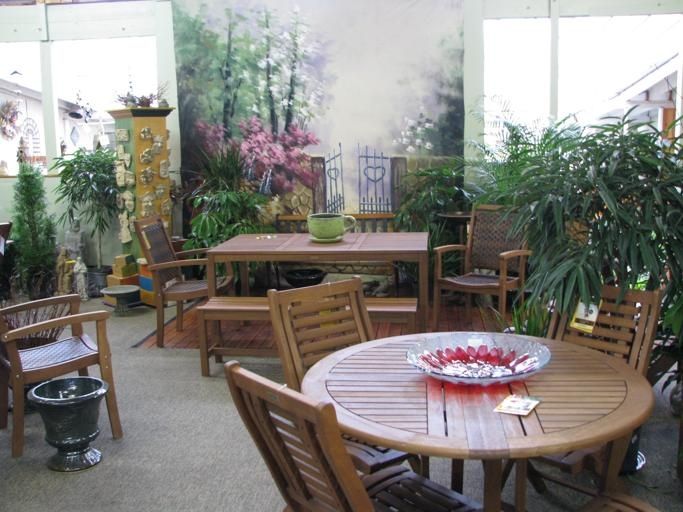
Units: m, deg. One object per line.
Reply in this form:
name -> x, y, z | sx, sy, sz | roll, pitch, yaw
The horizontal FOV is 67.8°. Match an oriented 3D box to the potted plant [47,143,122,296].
potted plant -> -3.228, -0.614, 6.620 | 1.113, 1.566, 0.654 | 9, 17, 37

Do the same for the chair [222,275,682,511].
chair -> 0.309, 0.521, 2.042 | 1.365, 0.696, 1.073 | 4, 14, 33

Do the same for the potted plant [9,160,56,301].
potted plant -> -3.880, -0.325, 6.383 | 0.488, 1.641, 0.877 | -10, 16, -29

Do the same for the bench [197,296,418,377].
bench -> -0.437, 0.617, 4.193 | 1.350, 0.489, 0.403 | -4, 5, 5

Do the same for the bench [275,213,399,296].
bench -> -0.112, -0.071, 6.738 | 1.658, 0.796, 1.116 | 1, 37, 17

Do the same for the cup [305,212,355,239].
cup -> -0.082, -0.278, 4.670 | 0.388, 0.174, 0.280 | 1, 6, -5

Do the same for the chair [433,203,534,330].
chair -> 1.380, 0.116, 4.850 | 0.985, 1.172, 0.982 | -3, 8, -12

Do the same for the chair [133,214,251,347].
chair -> -1.448, 0.222, 4.927 | 1.006, 1.137, 0.914 | -3, 10, -26
